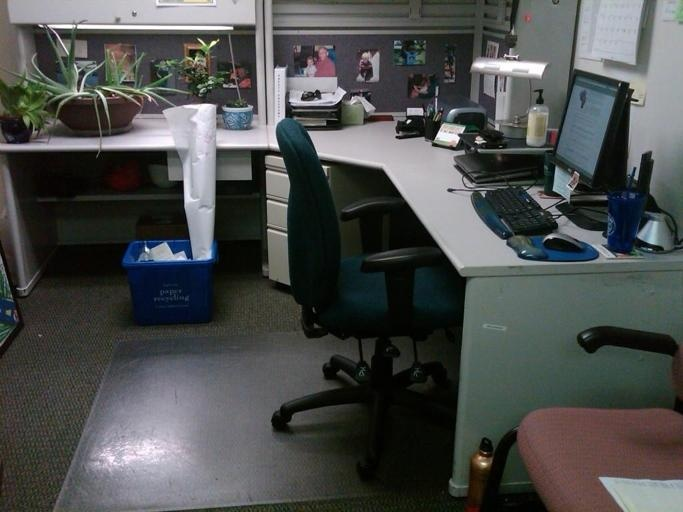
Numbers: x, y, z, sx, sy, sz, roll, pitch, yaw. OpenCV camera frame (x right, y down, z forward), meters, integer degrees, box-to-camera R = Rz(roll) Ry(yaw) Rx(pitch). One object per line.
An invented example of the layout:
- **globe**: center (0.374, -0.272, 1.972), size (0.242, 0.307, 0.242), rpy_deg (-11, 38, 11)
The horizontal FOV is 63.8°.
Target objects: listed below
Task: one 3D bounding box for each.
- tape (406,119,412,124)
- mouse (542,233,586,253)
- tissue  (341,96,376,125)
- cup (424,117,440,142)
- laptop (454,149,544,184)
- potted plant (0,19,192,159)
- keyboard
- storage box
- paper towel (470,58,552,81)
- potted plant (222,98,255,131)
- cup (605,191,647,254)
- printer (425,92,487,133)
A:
- **tape**: center (0.360, -0.710, 2.907), size (0.011, 0.030, 0.043), rpy_deg (3, 9, -12)
- **mouse**: center (0.653, -0.035, 1.626), size (0.092, 0.034, 0.058), rpy_deg (0, 22, 6)
- **tissue **: center (0.103, -0.813, 3.172), size (0.172, 0.134, 0.176), rpy_deg (2, 32, -2)
- **cup**: center (0.454, -0.638, 2.769), size (0.088, 0.100, 0.094), rpy_deg (4, 9, -1)
- **laptop**: center (0.654, -0.366, 2.252), size (0.198, 0.051, 0.215), rpy_deg (-4, 20, -12)
- **potted plant**: center (-1.285, -0.853, 2.983), size (0.802, 0.471, 0.786), rpy_deg (-1, 14, -16)
- **keyboard**: center (0.581, -0.143, 1.864), size (0.165, 0.039, 0.274), rpy_deg (-3, 25, -5)
- **storage box**: center (-0.828, 0.118, 2.686), size (0.365, 0.341, 0.468), rpy_deg (-1, 14, -6)
- **paper towel**: center (0.757, -0.840, 2.476), size (0.162, 0.090, 0.446), rpy_deg (-8, 27, -13)
- **potted plant**: center (-0.575, -0.802, 3.087), size (0.164, 0.119, 0.170), rpy_deg (-4, 22, -12)
- **cup**: center (0.846, -0.108, 1.651), size (0.099, 0.161, 0.148), rpy_deg (12, 28, 27)
- **printer**: center (0.587, -0.682, 2.827), size (0.220, 0.148, 0.297), rpy_deg (-2, 23, -5)
